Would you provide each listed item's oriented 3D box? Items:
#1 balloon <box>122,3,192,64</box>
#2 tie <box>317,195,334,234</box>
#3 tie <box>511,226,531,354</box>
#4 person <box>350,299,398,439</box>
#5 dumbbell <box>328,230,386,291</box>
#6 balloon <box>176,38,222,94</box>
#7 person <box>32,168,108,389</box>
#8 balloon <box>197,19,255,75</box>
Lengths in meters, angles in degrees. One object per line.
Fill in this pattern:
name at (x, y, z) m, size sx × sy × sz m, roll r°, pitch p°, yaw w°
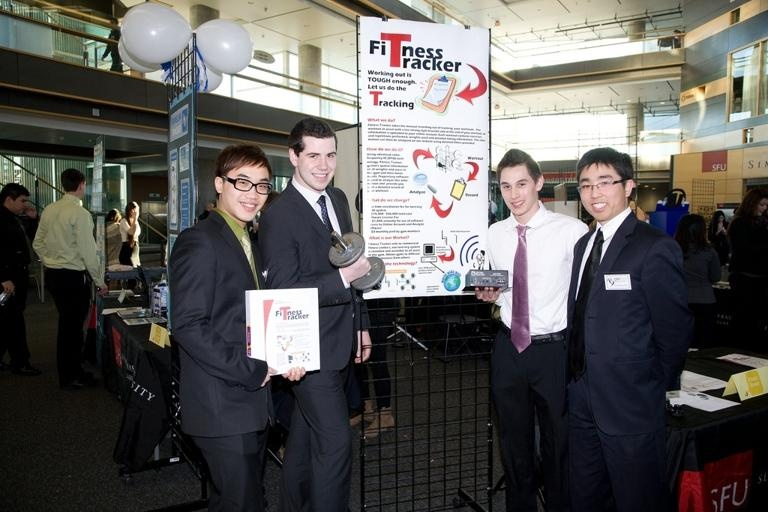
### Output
balloon at (-1.753, -1.732, 4.297) m, size 0.563 × 0.479 × 0.257 m, roll 1°, pitch 5°, yaw 28°
tie at (-0.406, -0.294, 3.846) m, size 0.072 × 0.332 × 0.044 m, roll -15°, pitch -19°, yaw 4°
tie at (0.953, 0.237, 3.918) m, size 0.113 × 0.877 × 0.107 m, roll 4°, pitch -6°, yaw -25°
person at (-0.095, 1.009, 5.246) m, size 0.426 × 1.233 × 0.433 m, roll 3°, pitch -7°, yaw -39°
dumbbell at (-0.174, 0.030, 3.633) m, size 0.157 × 0.176 × 0.331 m, roll 17°, pitch -28°, yaw 45°
balloon at (-1.430, -1.448, 4.387) m, size 0.184 × 0.364 × 0.282 m, roll -12°, pitch 41°, yaw -9°
person at (-3.583, 0.239, 6.488) m, size 0.746 × 2.391 × 0.907 m, roll 1°, pitch 2°, yaw 6°
balloon at (-1.292, -1.675, 4.594) m, size 0.464 × 0.359 × 0.361 m, roll 27°, pitch 48°, yaw 15°
